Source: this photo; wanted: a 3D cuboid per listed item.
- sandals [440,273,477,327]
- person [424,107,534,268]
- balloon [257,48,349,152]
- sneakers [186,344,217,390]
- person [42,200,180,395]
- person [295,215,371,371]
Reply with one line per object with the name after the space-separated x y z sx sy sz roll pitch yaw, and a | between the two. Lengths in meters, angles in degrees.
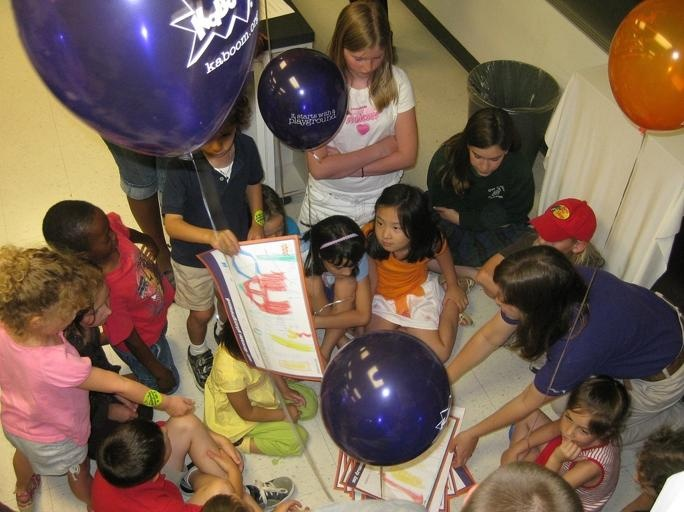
0.713 0.253 2.857 0.134 0.121 0.380 -4 68 -54 | sandals
0.744 -0.412 2.826 0.678 0.860 0.726 -2 73 8 | person
-0.165 -0.657 2.080 0.331 0.464 0.367 -4 14 4 | balloon
-0.749 0.568 2.638 0.099 0.119 0.276 -20 74 -42 | sneakers
-1.091 0.215 2.613 0.332 1.521 0.830 -6 61 -7 | person
-0.021 0.126 2.411 0.311 0.386 0.794 0 84 -24 | person
